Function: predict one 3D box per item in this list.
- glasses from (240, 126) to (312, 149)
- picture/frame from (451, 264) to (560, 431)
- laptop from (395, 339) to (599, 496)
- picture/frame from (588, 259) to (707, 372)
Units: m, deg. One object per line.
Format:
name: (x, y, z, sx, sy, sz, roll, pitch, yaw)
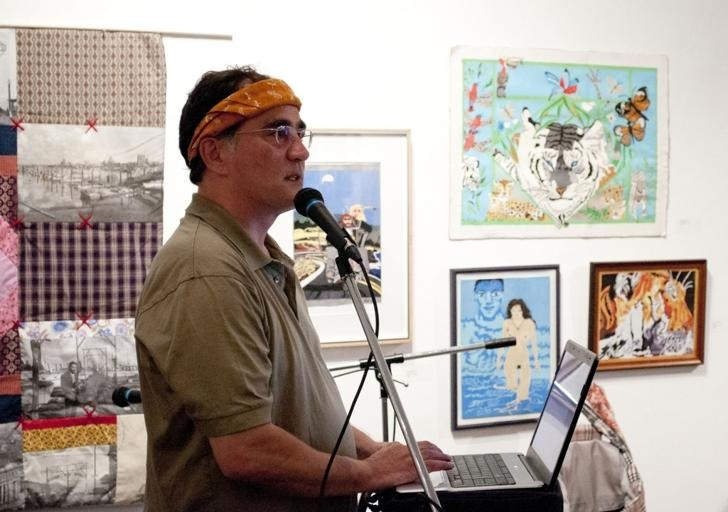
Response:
glasses: (-0.243, -0.379, 2.056, 0.112, 0.038, 0.112, -5, -3, 34)
picture/frame: (0.694, 0.376, 3.246, 0.550, 0.841, 0.038, -3, 42, 14)
laptop: (0.520, 0.581, 2.435, 0.540, 0.423, 0.531, -1, -9, 2)
picture/frame: (1.401, 0.283, 3.277, 0.505, 0.474, 0.045, -2, 4, -12)
